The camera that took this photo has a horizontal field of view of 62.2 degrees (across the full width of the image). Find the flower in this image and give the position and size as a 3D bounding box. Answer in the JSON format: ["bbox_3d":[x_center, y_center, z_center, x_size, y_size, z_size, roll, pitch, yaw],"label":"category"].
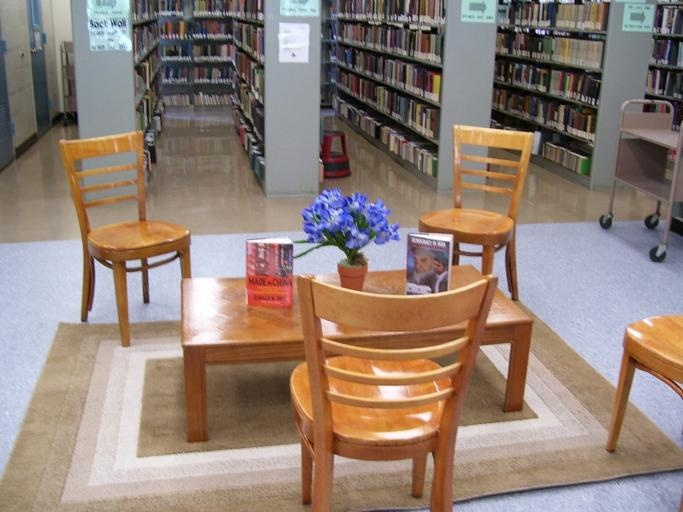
[{"bbox_3d":[0.042,-0.141,2.427,0.368,0.248,0.342,-25,38,-35],"label":"flower"}]

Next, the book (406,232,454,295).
[{"bbox_3d":[0.384,0.038,2.497,0.203,0.317,0.095,8,14,36],"label":"book"}]

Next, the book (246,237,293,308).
[{"bbox_3d":[-0.344,0.046,2.695,0.260,0.400,0.276,-1,15,-13],"label":"book"}]

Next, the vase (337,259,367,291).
[{"bbox_3d":[0.044,0.086,2.592,0.121,0.111,0.124,6,14,26],"label":"vase"}]
